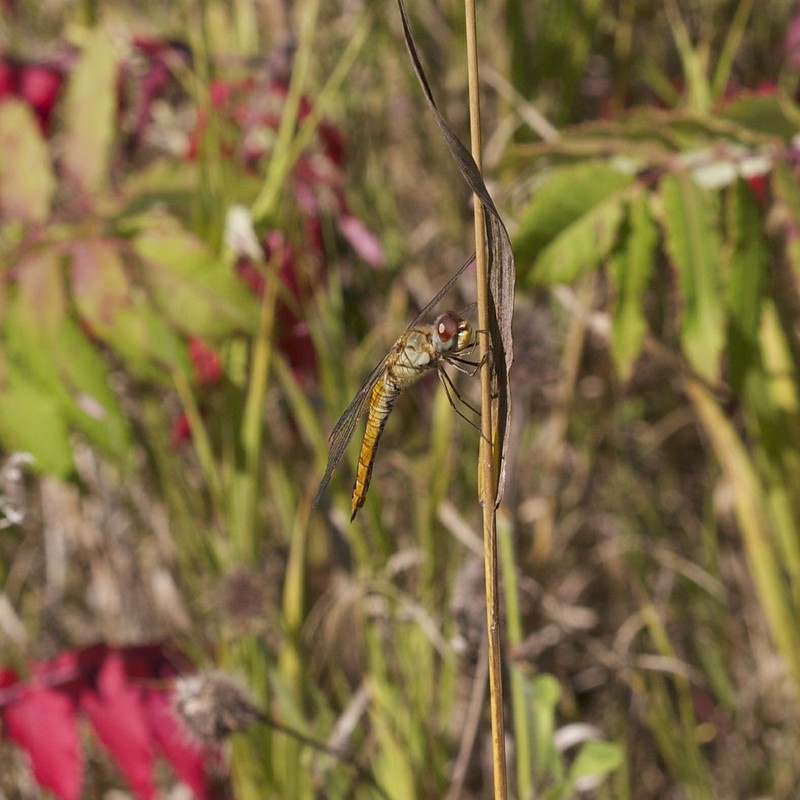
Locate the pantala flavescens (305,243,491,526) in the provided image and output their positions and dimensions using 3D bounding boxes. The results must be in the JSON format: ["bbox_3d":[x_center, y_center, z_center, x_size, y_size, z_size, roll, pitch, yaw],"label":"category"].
[{"bbox_3d":[0.009,-0.014,1.252,0.249,0.128,0.115,-43,102,7],"label":"pantala flavescens"}]
